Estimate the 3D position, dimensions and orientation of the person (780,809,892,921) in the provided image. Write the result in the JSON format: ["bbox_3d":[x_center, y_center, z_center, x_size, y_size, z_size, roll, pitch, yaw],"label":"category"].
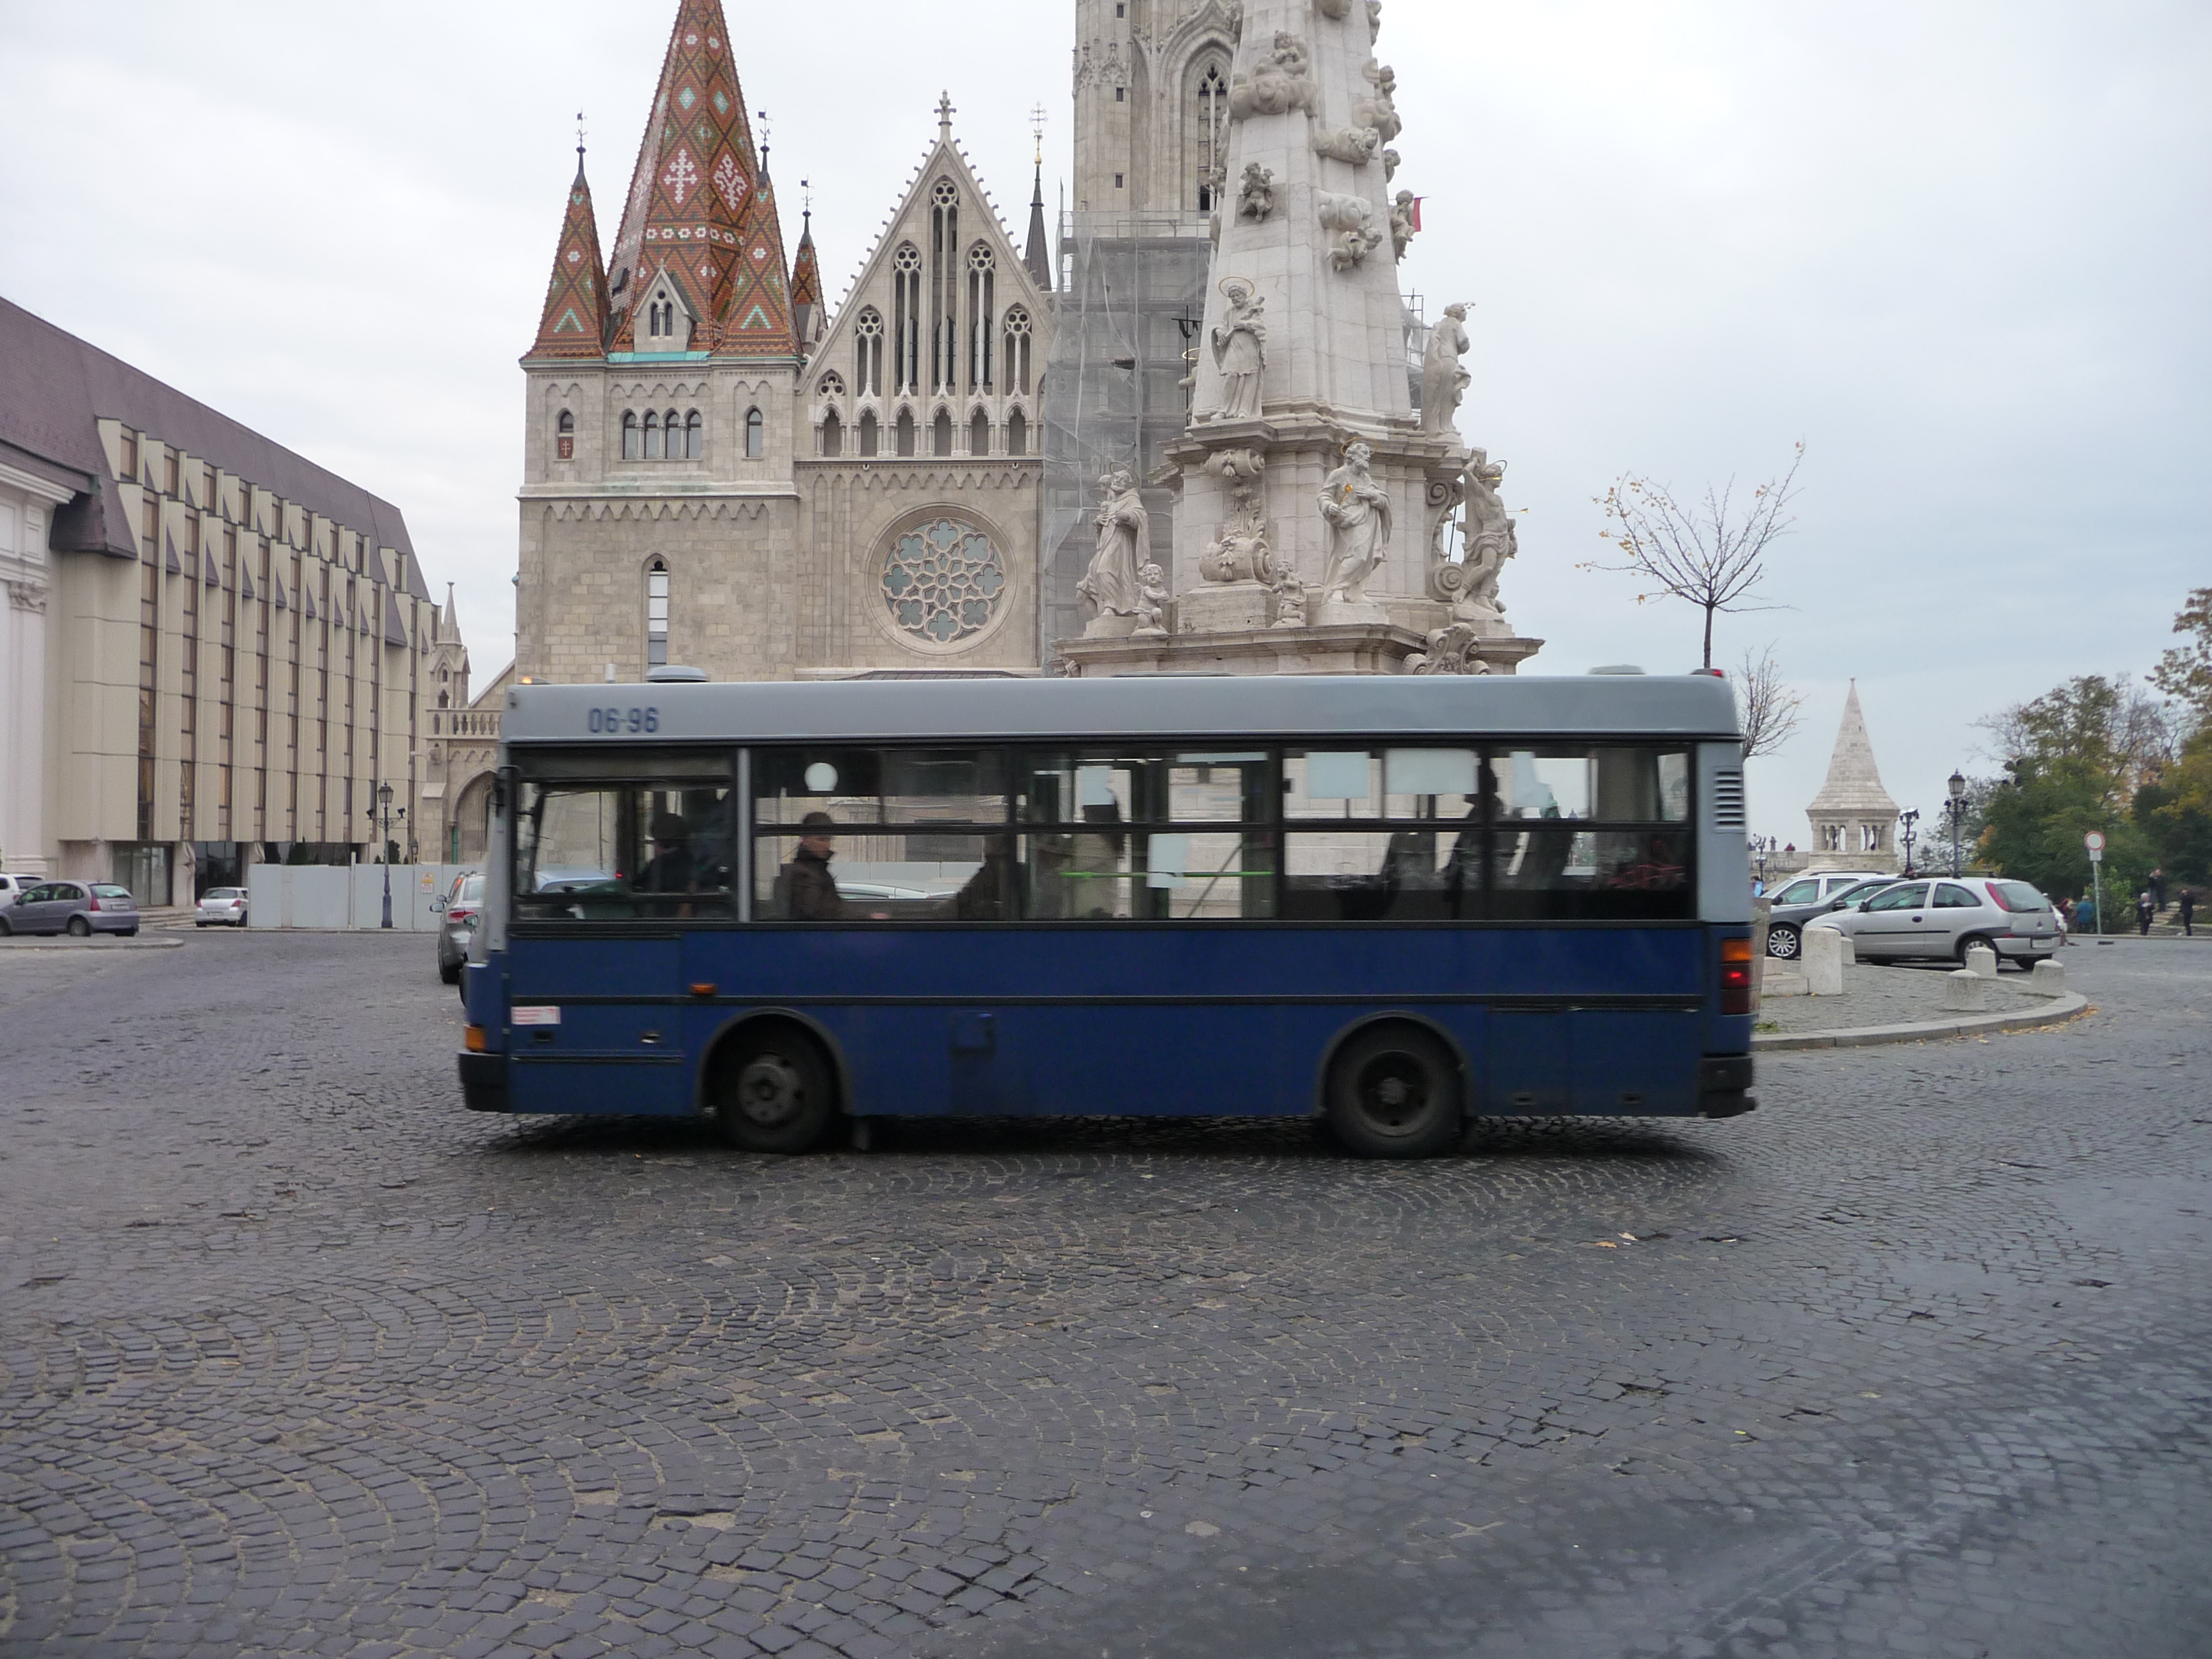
[{"bbox_3d":[-1.797,0.220,15.248,0.747,0.929,0.615,-7,6,-22],"label":"person"}]
